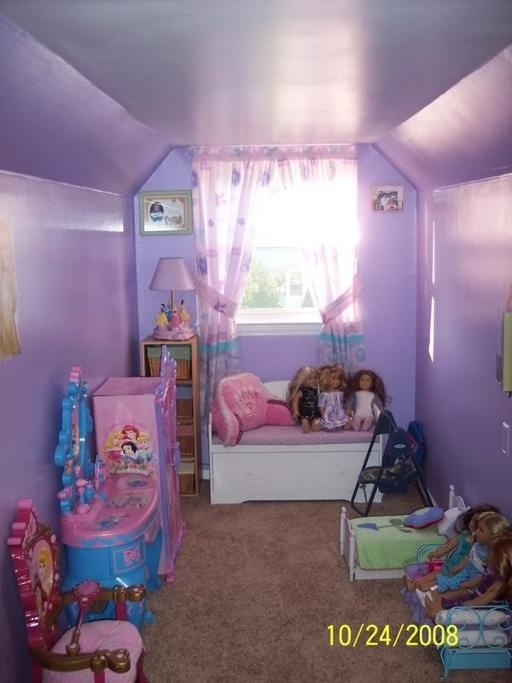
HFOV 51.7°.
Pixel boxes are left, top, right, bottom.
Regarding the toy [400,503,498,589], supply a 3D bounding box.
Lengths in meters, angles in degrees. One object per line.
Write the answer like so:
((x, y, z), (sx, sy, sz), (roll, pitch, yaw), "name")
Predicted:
((1.017, 1.094, 2.779), (0.552, 0.357, 0.250), (-13, 18, -14), "toy")

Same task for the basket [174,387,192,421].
((-0.599, 0.534, 4.427), (0.150, 0.276, 0.130), (0, 7, 2), "basket")

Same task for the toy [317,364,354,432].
((0.664, 0.460, 4.498), (0.257, 0.484, 0.507), (0, 7, 6), "toy")

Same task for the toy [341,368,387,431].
((0.936, 0.527, 4.560), (0.325, 0.564, 0.293), (1, -2, 7), "toy")

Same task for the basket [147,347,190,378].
((-0.697, 0.153, 4.296), (0.320, 0.294, 0.245), (0, 2, -2), "basket")

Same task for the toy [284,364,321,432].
((0.452, 0.470, 4.500), (0.304, 0.542, 0.435), (1, 3, -10), "toy")
